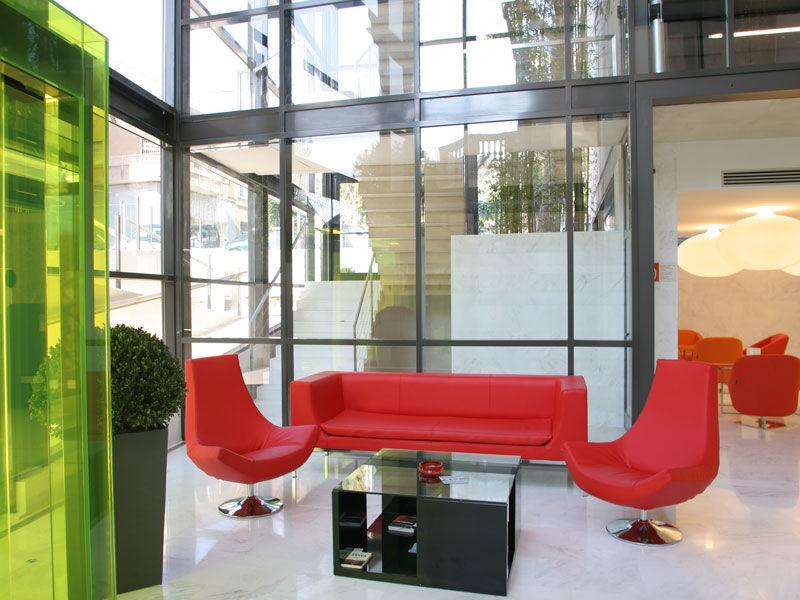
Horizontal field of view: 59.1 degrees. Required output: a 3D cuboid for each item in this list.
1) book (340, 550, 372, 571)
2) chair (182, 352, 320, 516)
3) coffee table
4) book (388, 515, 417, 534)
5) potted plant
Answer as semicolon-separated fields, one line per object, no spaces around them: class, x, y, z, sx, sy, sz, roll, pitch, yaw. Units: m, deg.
book;-0.269;1.610;4.398;0.166;0.045;0.195;1;7;11
chair;-1.162;1.037;5.430;0.960;1.194;0.914;-4;3;-38
coffee table;0.205;1.364;4.579;0.767;0.402;0.804;1;3;15
book;0.015;1.440;4.523;0.130;0.037;0.137;2;6;10
potted plant;-1.461;0.914;4.097;0.468;1.543;0.270;-5;8;-37
